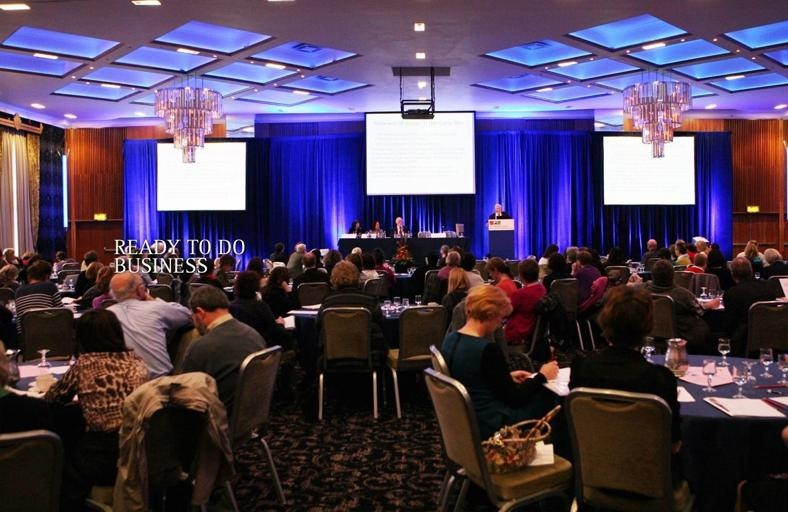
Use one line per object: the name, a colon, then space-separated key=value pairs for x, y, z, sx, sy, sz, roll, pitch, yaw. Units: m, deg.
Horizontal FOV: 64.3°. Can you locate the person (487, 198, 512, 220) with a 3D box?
person: x=2.900 y=-1.288 z=17.351 sx=0.642 sy=0.496 sz=1.425 roll=-5 pitch=20 yaw=6

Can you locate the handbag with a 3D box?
handbag: x=0.932 y=1.424 z=4.795 sx=0.655 sy=0.286 sz=0.418 roll=-16 pitch=2 yaw=-25

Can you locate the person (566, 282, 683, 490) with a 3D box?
person: x=1.671 y=0.830 z=4.633 sx=0.758 sy=1.196 sz=0.296 roll=-1 pitch=2 yaw=15

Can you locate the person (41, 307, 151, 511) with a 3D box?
person: x=-2.261 y=1.158 z=4.826 sx=0.679 sy=1.465 sz=0.343 roll=-3 pitch=3 yaw=-31

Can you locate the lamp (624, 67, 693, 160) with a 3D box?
lamp: x=5.440 y=-3.093 z=13.149 sx=1.059 sy=1.417 sz=0.879 roll=-2 pitch=2 yaw=-25

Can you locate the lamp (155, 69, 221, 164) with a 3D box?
lamp: x=-4.483 y=-3.072 z=13.577 sx=1.257 sy=1.876 sz=1.330 roll=-2 pitch=2 yaw=-25

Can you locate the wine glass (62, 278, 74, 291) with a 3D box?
wine glass: x=-5.526 y=0.490 z=10.702 sx=0.256 sy=0.252 sz=0.219 roll=1 pitch=-1 yaw=-28

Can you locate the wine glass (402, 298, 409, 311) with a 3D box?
wine glass: x=0.131 y=0.651 z=8.265 sx=0.095 sy=0.182 sz=0.098 roll=3 pitch=6 yaw=33

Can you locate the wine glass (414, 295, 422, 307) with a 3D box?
wine glass: x=0.298 y=0.610 z=8.629 sx=0.112 sy=0.182 sz=0.112 roll=4 pitch=9 yaw=26
